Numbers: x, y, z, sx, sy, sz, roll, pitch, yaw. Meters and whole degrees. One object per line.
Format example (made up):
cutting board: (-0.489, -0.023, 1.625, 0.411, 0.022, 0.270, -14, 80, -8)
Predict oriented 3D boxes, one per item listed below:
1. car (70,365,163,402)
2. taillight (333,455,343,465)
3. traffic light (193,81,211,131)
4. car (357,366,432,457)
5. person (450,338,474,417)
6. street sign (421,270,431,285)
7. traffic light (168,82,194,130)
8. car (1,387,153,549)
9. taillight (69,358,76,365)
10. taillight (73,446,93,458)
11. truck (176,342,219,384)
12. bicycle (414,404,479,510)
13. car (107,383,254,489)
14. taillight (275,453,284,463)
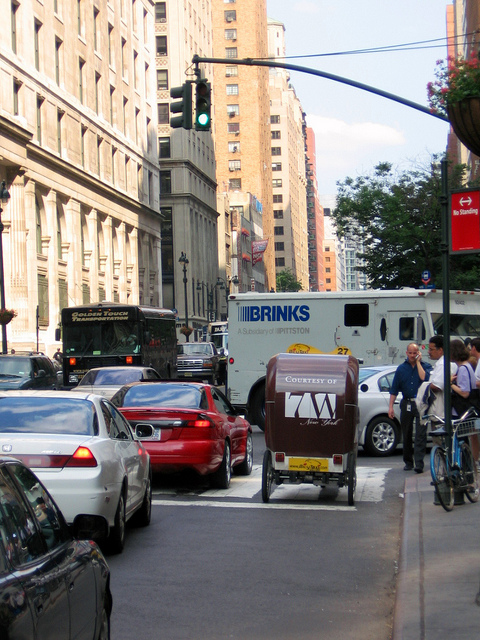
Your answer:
car: (-2.764, 1.313, 18.493, 0.916, 0.852, 2.307, -1, -7, 9)
taillight: (1.222, 1.756, 10.549, 0.090, 0.122, 0.072, -1, 5, 5)
traffic light: (-0.650, -3.637, 14.566, 0.262, 0.834, 0.962, -2, -1, -3)
car: (2.537, 1.792, 16.578, 2.121, 1.374, 1.170, -2, 0, -15)
person: (2.861, 0.797, 11.000, 0.321, 1.262, 0.443, -3, -22, 16)
street sign: (5.192, -1.136, 23.681, 0.214, 0.407, 0.647, -3, -1, 12)
traffic light: (-1.026, -3.755, 14.929, 0.409, 0.904, 1.939, -2, -2, -4)
car: (-1.349, 1.332, 7.754, 0.871, 1.003, 2.420, 1, -3, 8)
taillight: (-5.260, 1.342, 26.721, 0.155, 0.198, 0.043, 3, -2, 8)
taillight: (-1.236, 1.051, 6.736, 0.131, 0.085, 0.044, 14, -10, -31)
truck: (-1.898, 1.931, 38.104, 1.247, 1.521, 2.968, -1, -4, 3)
bicycle: (2.464, 1.667, 9.851, 0.537, 1.023, 1.429, -7, 4, 20)
car: (-0.659, 1.692, 11.813, 0.971, 0.916, 2.487, 0, -1, 8)
taillight: (0.507, 1.753, 10.732, 0.109, 0.144, 0.097, 0, -4, 0)
